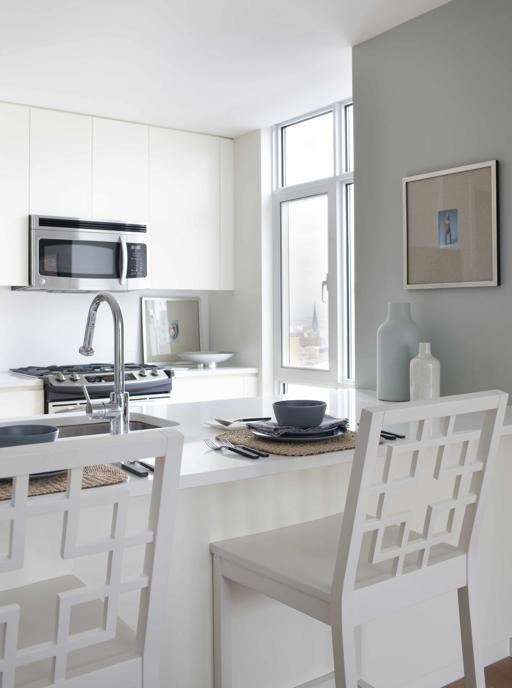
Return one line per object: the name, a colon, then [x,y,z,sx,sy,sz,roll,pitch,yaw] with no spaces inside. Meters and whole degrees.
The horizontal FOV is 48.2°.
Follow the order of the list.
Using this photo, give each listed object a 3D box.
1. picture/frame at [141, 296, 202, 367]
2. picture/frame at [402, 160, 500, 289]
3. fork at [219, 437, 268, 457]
picture/frame: [-0.642,-0.082,4.194,0.498,0.538,0.045,-2,-1,-39]
picture/frame: [0.752,-0.451,2.174,0.043,0.575,0.536,0,-1,-35]
fork: [-0.028,0.237,1.274,0.032,0.014,0.161,-10,12,-32]
